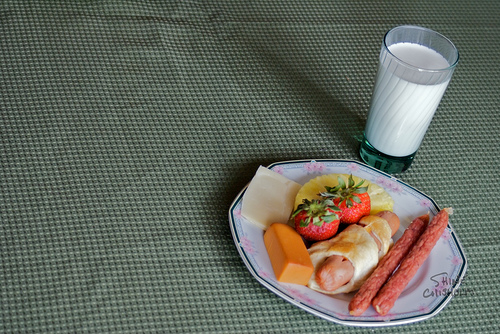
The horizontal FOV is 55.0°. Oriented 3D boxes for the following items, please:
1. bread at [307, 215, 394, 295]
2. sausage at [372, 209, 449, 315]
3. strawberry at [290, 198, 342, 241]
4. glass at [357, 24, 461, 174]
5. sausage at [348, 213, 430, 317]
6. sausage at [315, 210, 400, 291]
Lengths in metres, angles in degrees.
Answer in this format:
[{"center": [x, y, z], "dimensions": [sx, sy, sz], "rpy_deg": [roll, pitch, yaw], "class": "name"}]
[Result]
[{"center": [0.168, 0.146, 0.809], "dimensions": [0.090, 0.051, 0.151], "rpy_deg": [36, 64, 26], "class": "bread"}, {"center": [0.282, 0.166, 0.897], "dimensions": [0.058, 0.053, 0.361], "rpy_deg": [32, 33, 19], "class": "sausage"}, {"center": [0.113, 0.085, 0.868], "dimensions": [0.077, 0.064, 0.089], "rpy_deg": [5, 34, 4], "class": "strawberry"}, {"center": [0.284, -0.111, 0.958], "dimensions": [0.136, 0.296, 0.151], "rpy_deg": [-19, 47, -14], "class": "glass"}, {"center": [0.231, 0.173, 0.811], "dimensions": [0.028, 0.031, 0.216], "rpy_deg": [25, 59, 40], "class": "sausage"}, {"center": [0.187, 0.141, 0.823], "dimensions": [0.191, 0.053, 0.052], "rpy_deg": [-43, 67, -12], "class": "sausage"}]
